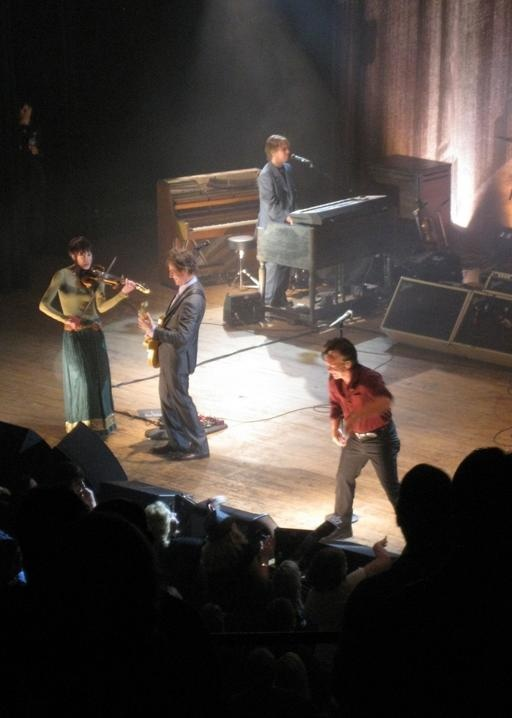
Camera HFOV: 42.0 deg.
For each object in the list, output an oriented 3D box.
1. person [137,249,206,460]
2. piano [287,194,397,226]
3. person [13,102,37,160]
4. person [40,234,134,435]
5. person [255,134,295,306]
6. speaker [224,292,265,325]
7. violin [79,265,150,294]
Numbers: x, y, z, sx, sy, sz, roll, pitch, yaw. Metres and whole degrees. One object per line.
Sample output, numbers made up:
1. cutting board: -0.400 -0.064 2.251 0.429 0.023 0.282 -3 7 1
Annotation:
1. person: -0.712 -0.036 5.936 0.628 1.851 0.343 2 12 -5
2. piano: 1.363 -2.231 10.013 0.555 0.218 1.696 -5 14 46
3. person: -4.341 -4.319 12.623 0.350 0.878 0.533 0 12 -13
4. person: -1.597 -0.181 6.187 0.741 1.861 0.501 -1 12 -17
5. person: 0.281 -1.991 9.739 0.533 2.449 0.557 3 12 2
6. speaker: -0.160 -0.710 9.510 0.437 0.363 0.223 -10 15 -37
7. violin: -1.285 -0.670 6.125 0.258 0.085 0.623 15 2 41
